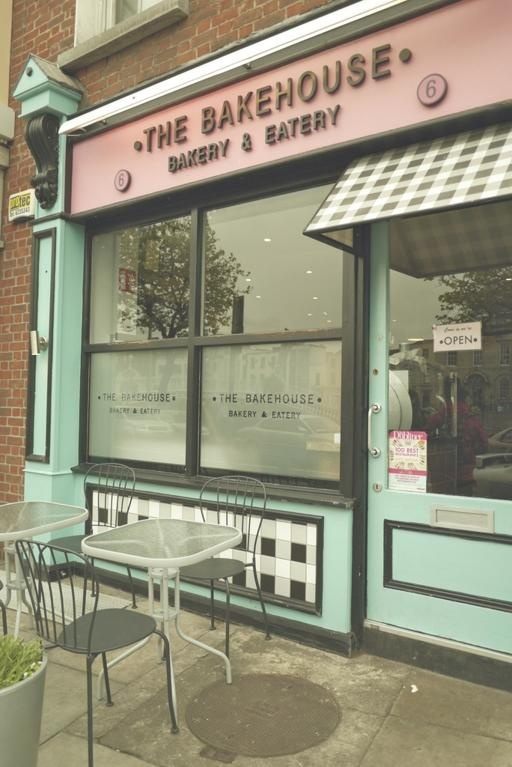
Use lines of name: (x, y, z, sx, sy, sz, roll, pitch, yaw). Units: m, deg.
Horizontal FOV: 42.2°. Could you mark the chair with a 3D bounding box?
chair: (-0.756, 1.015, 3.484, 0.824, 1.219, 1.741, -2, -3, 26)
